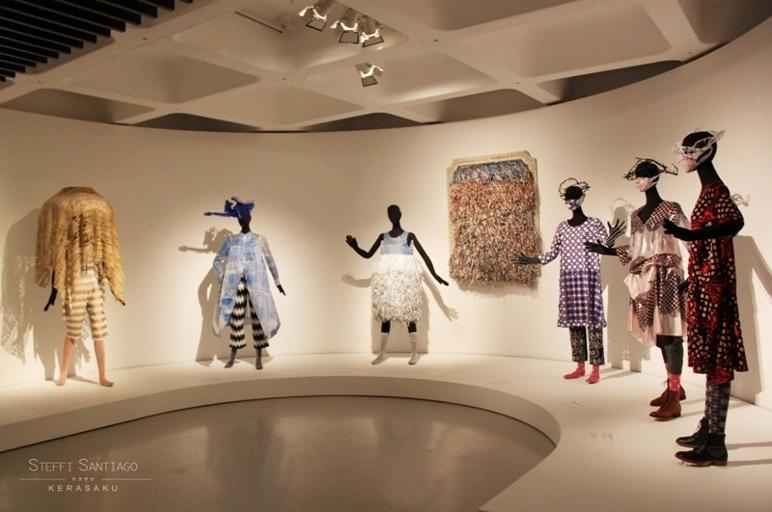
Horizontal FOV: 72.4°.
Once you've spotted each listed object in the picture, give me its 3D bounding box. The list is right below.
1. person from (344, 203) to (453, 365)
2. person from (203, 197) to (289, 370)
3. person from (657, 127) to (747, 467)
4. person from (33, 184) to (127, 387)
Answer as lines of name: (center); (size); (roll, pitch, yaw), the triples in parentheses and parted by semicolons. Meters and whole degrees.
person: (0.106, 0.363, 6.795); (1.142, 2.040, 0.875); (2, -6, -27)
person: (-1.799, 0.354, 6.754); (0.867, 2.149, 0.393); (1, -5, -17)
person: (2.467, 0.300, 4.081); (0.507, 2.634, 0.546); (-3, -6, 28)
person: (-3.494, 0.338, 5.970); (0.878, 2.278, 0.379); (-1, -5, 4)
